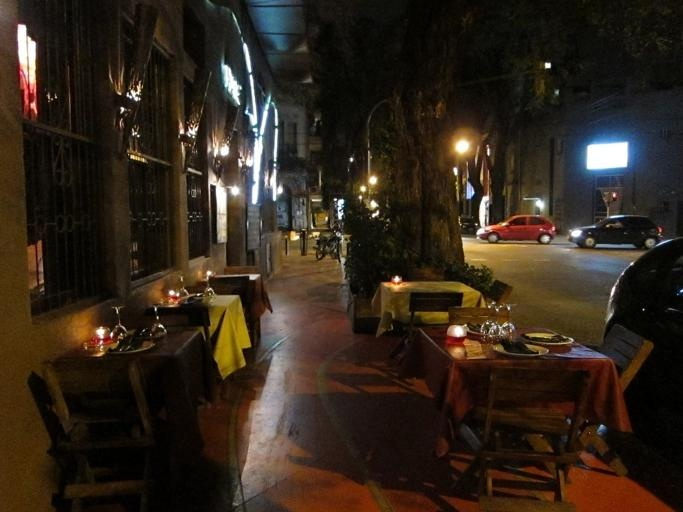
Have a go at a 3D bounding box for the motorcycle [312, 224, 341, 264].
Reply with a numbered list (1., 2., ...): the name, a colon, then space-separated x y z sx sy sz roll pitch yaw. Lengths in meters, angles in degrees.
1. motorcycle: -0.470 -0.660 23.857 1.218 1.417 1.961 3 -7 -30

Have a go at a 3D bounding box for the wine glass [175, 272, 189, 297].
1. wine glass: -2.532 0.453 8.827 0.249 0.451 0.259 -1 -9 0

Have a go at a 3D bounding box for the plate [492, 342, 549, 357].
1. plate: 1.754 0.906 5.487 0.510 0.132 0.274 -2 4 20

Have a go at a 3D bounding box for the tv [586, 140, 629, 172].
1. tv: 16.988 -6.376 36.098 0.501 1.725 2.166 -3 -2 -44
